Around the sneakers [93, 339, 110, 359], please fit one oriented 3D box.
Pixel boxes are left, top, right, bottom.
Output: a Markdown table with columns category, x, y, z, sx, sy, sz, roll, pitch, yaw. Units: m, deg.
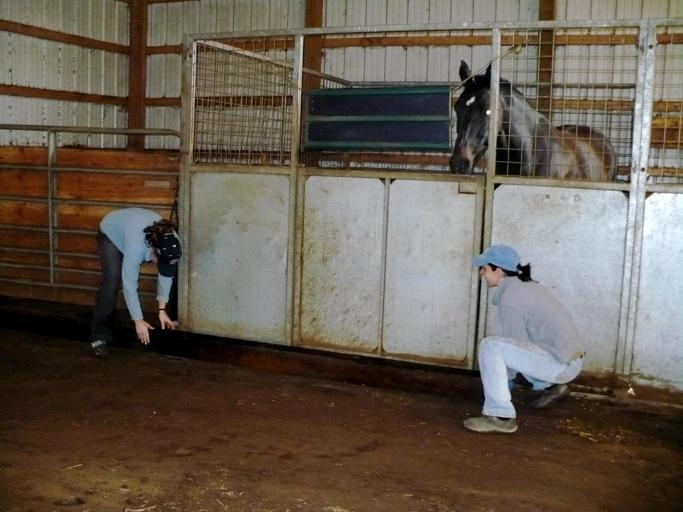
| category | x | y | z | sx | sy | sz | roll | pitch | yaw |
| --- | --- | --- | --- | --- | --- | --- | --- | --- | --- |
| sneakers | -2.339 | 0.863 | 7.352 | 0.152 | 0.160 | 0.148 | 3 | -2 | -42 |

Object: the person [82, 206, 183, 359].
| category | x | y | z | sx | sy | sz | roll | pitch | yaw |
| --- | --- | --- | --- | --- | --- | --- | --- | --- | --- |
| person | -1.965 | 0.247 | 7.270 | 1.078 | 1.350 | 0.514 | 7 | 9 | 39 |

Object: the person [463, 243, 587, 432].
| category | x | y | z | sx | sy | sz | roll | pitch | yaw |
| --- | --- | --- | --- | --- | --- | --- | --- | --- | --- |
| person | 1.479 | 0.619 | 6.414 | 0.912 | 1.354 | 1.026 | 2 | 6 | 29 |

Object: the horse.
| category | x | y | z | sx | sy | sz | roll | pitch | yaw |
| --- | --- | --- | --- | --- | --- | --- | --- | --- | --- |
| horse | 2.015 | -0.932 | 7.933 | 2.440 | 1.638 | 0.691 | -1 | 1 | -40 |

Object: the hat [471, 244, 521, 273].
| category | x | y | z | sx | sy | sz | roll | pitch | yaw |
| --- | --- | --- | --- | --- | --- | --- | --- | --- | --- |
| hat | 1.220 | 0.006 | 6.324 | 0.310 | 0.152 | 0.212 | 10 | 9 | 16 |

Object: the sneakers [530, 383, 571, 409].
| category | x | y | z | sx | sy | sz | roll | pitch | yaw |
| --- | --- | --- | --- | --- | --- | --- | --- | --- | --- |
| sneakers | 1.743 | 1.163 | 6.615 | 0.297 | 0.090 | 0.189 | -35 | 36 | -5 |

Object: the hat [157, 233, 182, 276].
| category | x | y | z | sx | sy | sz | roll | pitch | yaw |
| --- | --- | --- | --- | --- | --- | --- | --- | --- | --- |
| hat | -1.601 | -0.015 | 7.054 | 0.176 | 0.384 | 0.241 | 7 | 4 | 39 |

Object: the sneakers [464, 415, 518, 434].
| category | x | y | z | sx | sy | sz | roll | pitch | yaw |
| --- | --- | --- | --- | --- | --- | --- | --- | --- | --- |
| sneakers | 1.137 | 1.288 | 6.081 | 0.261 | 0.094 | 0.185 | 4 | -2 | 5 |
